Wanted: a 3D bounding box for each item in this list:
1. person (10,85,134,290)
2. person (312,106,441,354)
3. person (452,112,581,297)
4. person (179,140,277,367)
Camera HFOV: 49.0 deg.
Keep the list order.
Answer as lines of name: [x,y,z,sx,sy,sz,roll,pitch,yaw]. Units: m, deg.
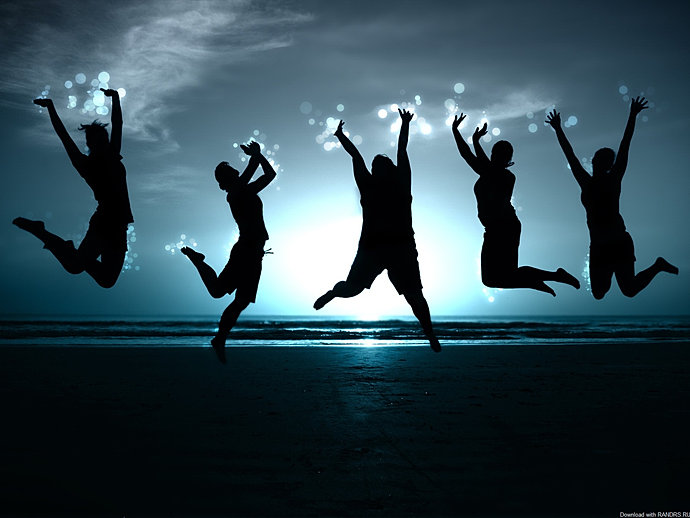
person: [-3.670,-0.955,10.687,1.211,2.813,0.639,-3,13,-15]
person: [0.576,-0.320,10.629,1.552,3.482,0.819,1,13,6]
person: [2.245,-0.713,10.604,1.516,2.387,0.589,1,13,6]
person: [-1.586,-0.003,11.068,1.170,3.360,0.719,-2,13,-7]
